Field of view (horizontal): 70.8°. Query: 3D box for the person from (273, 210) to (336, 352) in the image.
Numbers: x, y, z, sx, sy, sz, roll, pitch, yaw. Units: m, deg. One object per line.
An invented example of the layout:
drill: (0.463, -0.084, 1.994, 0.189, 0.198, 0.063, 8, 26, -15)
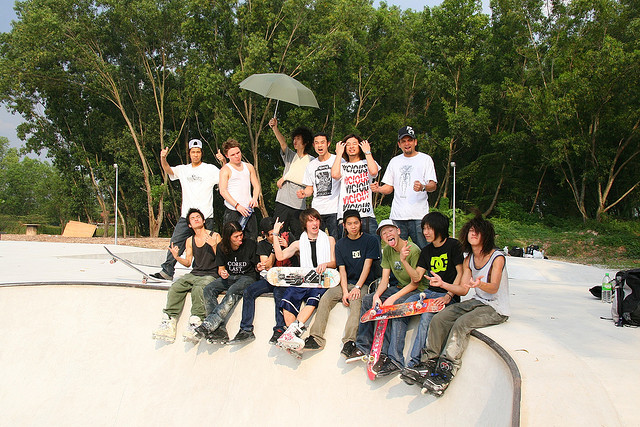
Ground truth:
person: (-0.374, 1.097, 7.966, 1.078, 1.486, 2.711, -2, 21, 11)

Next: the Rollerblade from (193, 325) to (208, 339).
Rollerblade: (-2.076, 2.068, 7.857, 0.201, 0.209, 0.209, 19, -20, -8)

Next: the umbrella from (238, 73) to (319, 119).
umbrella: (-0.821, -2.692, 9.802, 1.019, 0.754, 1.125, 23, 18, 8)

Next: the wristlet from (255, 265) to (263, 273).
wristlet: (-1.133, 1.034, 8.405, 0.131, 0.113, 0.145, 1, 2, 3)

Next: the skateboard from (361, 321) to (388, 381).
skateboard: (0.991, 2.129, 7.506, 0.291, 0.232, 1.359, -29, 15, 31)

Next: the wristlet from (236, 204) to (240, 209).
wristlet: (-1.643, -0.136, 9.017, 0.073, 0.080, 0.018, 9, -6, 45)

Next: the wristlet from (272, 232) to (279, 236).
wristlet: (-0.829, 0.400, 8.563, 0.106, 0.052, 0.114, 2, 3, -25)

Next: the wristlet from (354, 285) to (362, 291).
wristlet: (0.678, 1.300, 7.894, 0.106, 0.082, 0.099, 3, 3, 0)

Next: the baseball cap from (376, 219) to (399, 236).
baseball cap: (1.181, 0.263, 7.950, 0.289, 0.286, 0.332, 2, 3, -2)

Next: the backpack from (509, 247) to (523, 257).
backpack: (6.963, 1.356, 15.817, 0.362, 0.282, 0.603, 4, 3, 22)

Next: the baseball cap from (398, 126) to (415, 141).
baseball cap: (1.631, -1.514, 8.562, 0.293, 0.240, 0.504, -1, 8, 7)

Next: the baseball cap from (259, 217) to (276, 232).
baseball cap: (-0.992, 0.227, 8.728, 0.279, 0.282, 0.415, 2, 3, -4)

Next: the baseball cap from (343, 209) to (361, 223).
baseball cap: (0.582, 0.051, 8.185, 0.290, 0.222, 0.320, 3, 3, 0)

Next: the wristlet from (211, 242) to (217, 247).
wristlet: (-2.044, 0.602, 8.671, 0.023, 0.065, 0.045, 49, 27, 15)

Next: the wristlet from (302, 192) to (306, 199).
wristlet: (-0.318, -0.372, 9.193, 0.111, 0.116, 0.117, 1, 9, 1)

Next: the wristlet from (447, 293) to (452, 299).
wristlet: (2.149, 1.360, 7.445, 0.061, 0.017, 0.063, 45, 3, 36)
